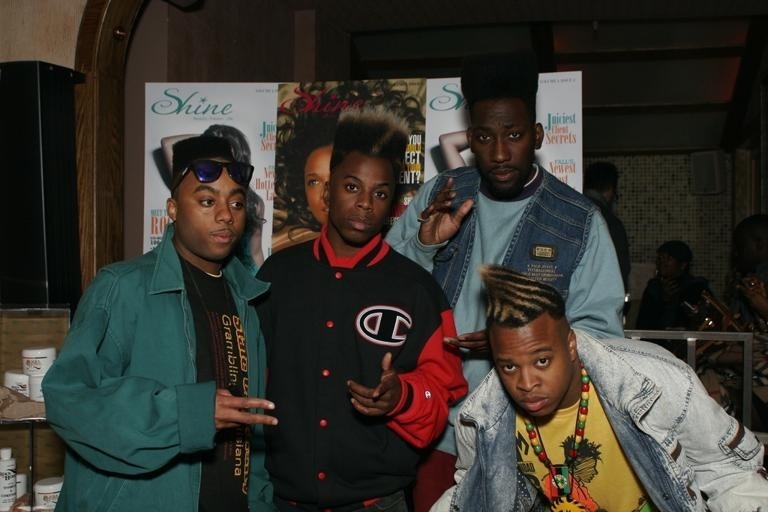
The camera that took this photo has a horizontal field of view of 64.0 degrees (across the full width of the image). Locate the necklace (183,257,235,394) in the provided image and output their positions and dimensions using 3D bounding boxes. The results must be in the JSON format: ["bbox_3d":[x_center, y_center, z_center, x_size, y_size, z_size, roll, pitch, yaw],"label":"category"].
[{"bbox_3d":[-0.900,0.357,3.173,0.140,0.599,0.335,-15,-13,21],"label":"necklace"}]
